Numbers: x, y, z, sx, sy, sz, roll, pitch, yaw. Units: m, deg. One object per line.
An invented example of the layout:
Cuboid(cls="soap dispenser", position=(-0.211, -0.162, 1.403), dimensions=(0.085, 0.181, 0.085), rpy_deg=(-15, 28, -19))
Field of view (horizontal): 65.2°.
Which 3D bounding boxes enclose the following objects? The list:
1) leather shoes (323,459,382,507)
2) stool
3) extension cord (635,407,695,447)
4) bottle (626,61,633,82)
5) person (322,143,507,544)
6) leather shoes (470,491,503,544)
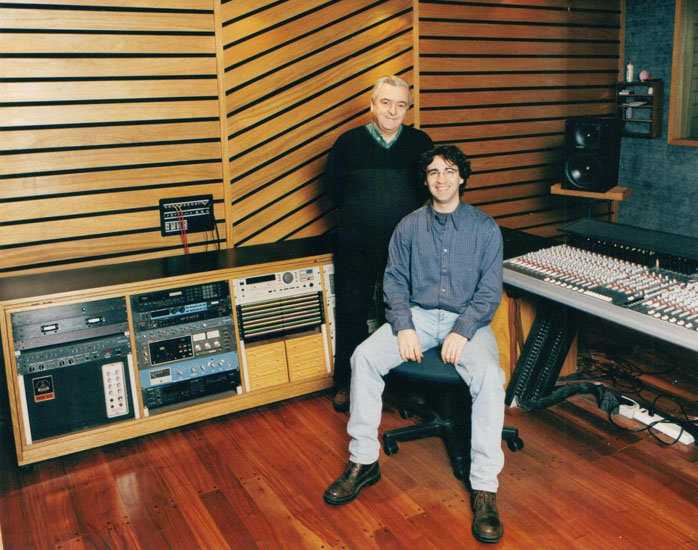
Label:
Cuboid(cls="leather shoes", position=(0.011, 0.951, 2.610), dimensions=(0.324, 0.181, 0.126), rpy_deg=(-9, 17, -35))
Cuboid(cls="stool", position=(0.461, 0.605, 2.900), dimensions=(0.724, 0.522, 0.669), rpy_deg=(-6, 21, -16))
Cuboid(cls="extension cord", position=(1.678, 0.801, 2.911), dimensions=(0.108, 0.104, 0.299), rpy_deg=(-12, 16, -30))
Cuboid(cls="bottle", position=(1.863, -1.335, 3.627), dimensions=(0.039, 0.128, 0.108), rpy_deg=(-2, 14, 10))
Cuboid(cls="person", position=(0.311, 0.240, 2.538), dimensions=(0.779, 1.622, 0.871), rpy_deg=(-1, 15, 14))
Cuboid(cls="leather shoes", position=(0.580, 1.026, 2.307), dimensions=(0.090, 0.090, 0.250), rpy_deg=(-1, -4, 8))
